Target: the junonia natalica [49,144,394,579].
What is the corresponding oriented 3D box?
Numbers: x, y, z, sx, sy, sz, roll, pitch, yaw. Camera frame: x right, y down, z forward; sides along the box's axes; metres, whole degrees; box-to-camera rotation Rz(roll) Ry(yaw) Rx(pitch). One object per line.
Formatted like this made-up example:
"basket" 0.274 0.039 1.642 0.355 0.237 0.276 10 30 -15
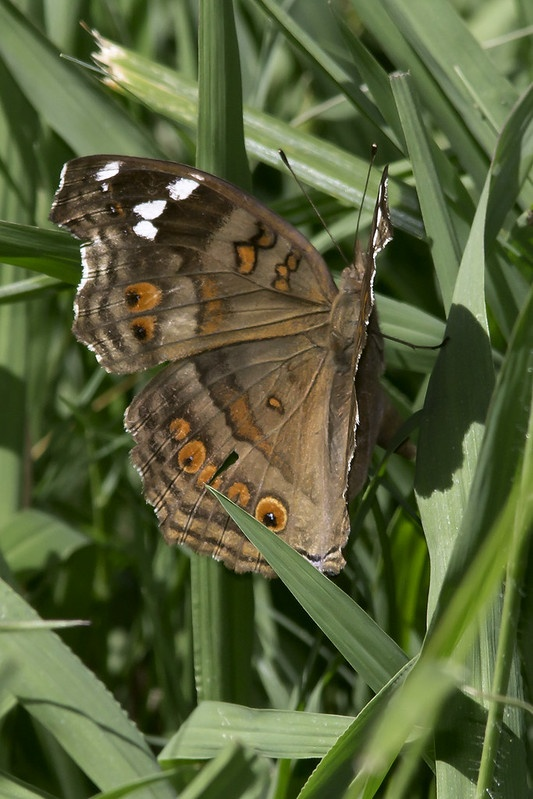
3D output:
"junonia natalica" -0.011 -0.078 0.993 0.460 0.432 0.229 14 17 15
